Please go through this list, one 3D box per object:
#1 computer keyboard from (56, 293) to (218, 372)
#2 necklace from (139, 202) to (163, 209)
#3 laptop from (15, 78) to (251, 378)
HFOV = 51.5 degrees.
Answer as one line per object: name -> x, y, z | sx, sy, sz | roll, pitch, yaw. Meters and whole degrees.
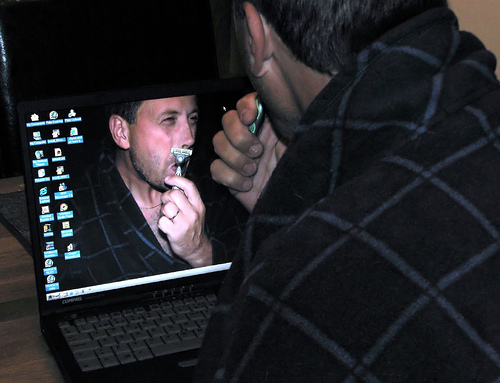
computer keyboard -> -0.165, 0.204, 0.764 | 0.227, 0.032, 0.122 | -2, 16, -19
necklace -> -0.164, 0.020, 0.864 | 0.045, 0.005, 0.005 | -19, 70, -42
laptop -> -0.182, 0.030, 0.911 | 0.455, 0.364, 0.400 | -6, 20, -20
